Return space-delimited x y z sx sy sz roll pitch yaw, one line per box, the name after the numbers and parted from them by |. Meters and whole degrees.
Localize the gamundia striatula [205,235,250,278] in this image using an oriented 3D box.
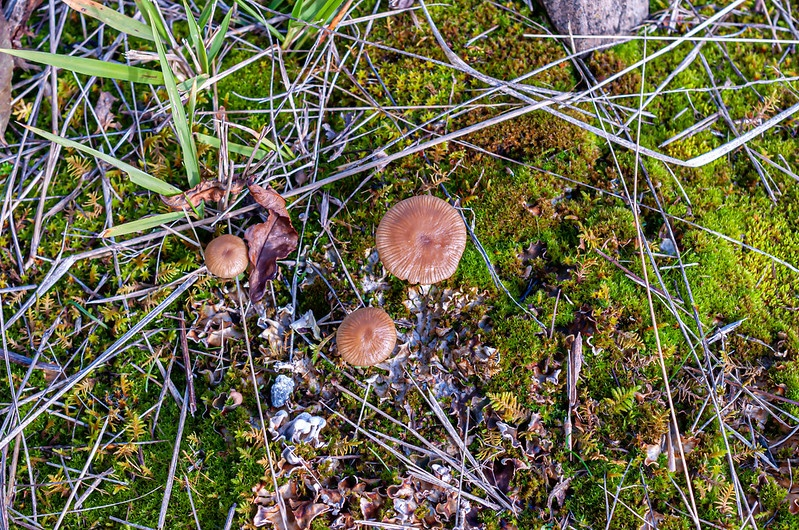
-1.685 -0.057 7.753 0.413 0.385 0.308 -13 -19 -4 | gamundia striatula

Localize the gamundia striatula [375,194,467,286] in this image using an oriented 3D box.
0.176 -0.306 7.900 0.705 0.886 0.961 -7 19 -1 | gamundia striatula

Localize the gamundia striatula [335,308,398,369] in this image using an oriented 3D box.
-0.326 0.696 7.579 0.566 0.525 0.366 -4 -19 -1 | gamundia striatula
